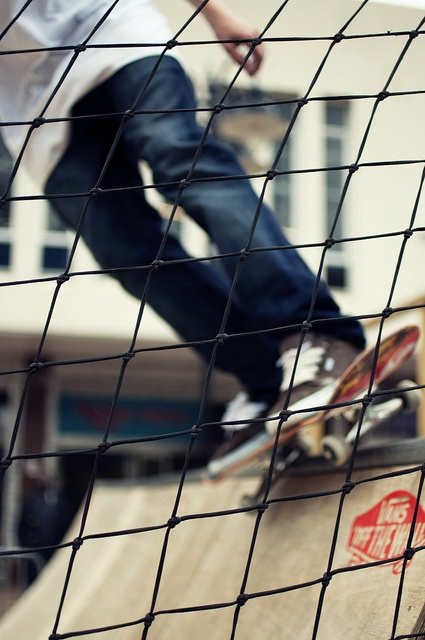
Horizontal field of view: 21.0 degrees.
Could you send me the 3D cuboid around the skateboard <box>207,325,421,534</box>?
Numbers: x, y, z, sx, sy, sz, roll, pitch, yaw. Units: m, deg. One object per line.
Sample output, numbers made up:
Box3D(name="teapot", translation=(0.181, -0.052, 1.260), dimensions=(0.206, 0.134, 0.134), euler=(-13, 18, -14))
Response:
Box3D(name="skateboard", translation=(0.195, 0.222, 2.260), dimensions=(0.188, 0.200, 0.553), euler=(18, -42, -3))
